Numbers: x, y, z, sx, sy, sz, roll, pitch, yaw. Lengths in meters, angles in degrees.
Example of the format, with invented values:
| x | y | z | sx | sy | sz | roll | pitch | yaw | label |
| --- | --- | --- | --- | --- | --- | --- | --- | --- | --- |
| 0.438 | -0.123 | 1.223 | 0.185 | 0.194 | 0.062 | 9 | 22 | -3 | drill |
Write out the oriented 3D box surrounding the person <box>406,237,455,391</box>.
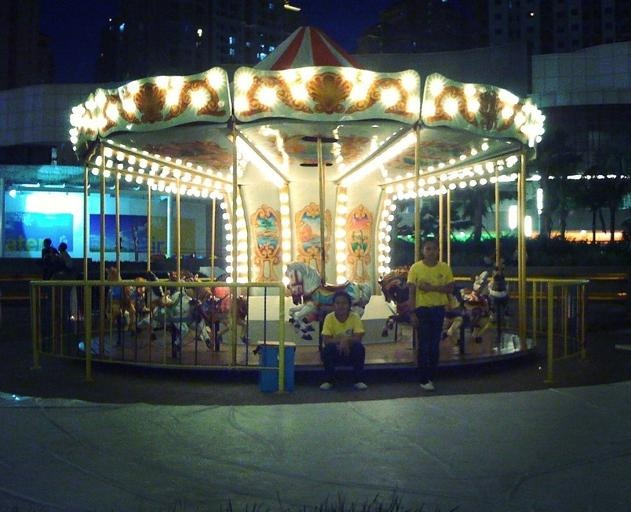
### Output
| x | y | z | sx | sy | sz | roll | pitch | yaw | label |
| --- | --- | --- | --- | --- | --- | --- | --- | --- | --- |
| 1.600 | 0.787 | 9.876 | 0.520 | 1.974 | 0.642 | 4 | 5 | 45 | person |

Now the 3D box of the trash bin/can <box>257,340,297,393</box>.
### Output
| x | y | z | sx | sy | sz | roll | pitch | yaw | label |
| --- | --- | --- | --- | --- | --- | --- | --- | --- | --- |
| -0.542 | 1.496 | 9.736 | 0.652 | 0.846 | 0.565 | 0 | -8 | -4 | trash bin/can |

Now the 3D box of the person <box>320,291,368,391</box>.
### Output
| x | y | z | sx | sy | sz | roll | pitch | yaw | label |
| --- | --- | --- | --- | --- | --- | --- | --- | --- | --- |
| 0.405 | 1.156 | 9.957 | 0.636 | 1.232 | 0.855 | 1 | 4 | 1 | person |

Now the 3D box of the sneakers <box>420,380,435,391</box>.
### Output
| x | y | z | sx | sy | sz | roll | pitch | yaw | label |
| --- | --- | --- | --- | --- | --- | --- | --- | --- | --- |
| 1.542 | 1.741 | 9.622 | 0.175 | 0.110 | 0.201 | 1 | 4 | 7 | sneakers |
